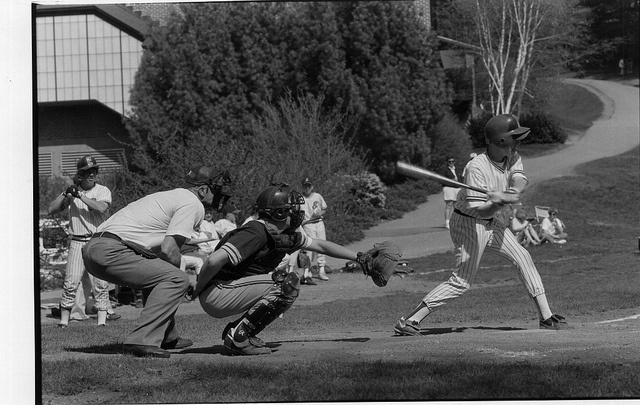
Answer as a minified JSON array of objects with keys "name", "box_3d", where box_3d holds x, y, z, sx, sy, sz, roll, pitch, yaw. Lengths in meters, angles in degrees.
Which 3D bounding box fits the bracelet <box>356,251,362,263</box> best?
[{"name":"bracelet","box_3d":[0.906,1.281,24.984,0.089,0.196,0.165,10,-1,-27]}]

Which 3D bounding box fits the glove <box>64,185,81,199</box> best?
[{"name":"glove","box_3d":[-6.317,-0.272,27.381,0.426,0.352,0.284,2,13,17]}]

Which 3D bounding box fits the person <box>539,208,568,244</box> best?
[{"name":"person","box_3d":[7.809,0.809,36.268,1.248,1.213,1.146,-2,5,-16]}]

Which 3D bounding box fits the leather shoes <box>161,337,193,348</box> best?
[{"name":"leather shoes","box_3d":[-3.349,3.315,25.293,0.760,0.257,0.254,-4,1,-3]}]

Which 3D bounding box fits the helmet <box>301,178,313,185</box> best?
[{"name":"helmet","box_3d":[-0.390,-0.608,31.769,0.271,0.207,0.351,-1,12,1]}]
